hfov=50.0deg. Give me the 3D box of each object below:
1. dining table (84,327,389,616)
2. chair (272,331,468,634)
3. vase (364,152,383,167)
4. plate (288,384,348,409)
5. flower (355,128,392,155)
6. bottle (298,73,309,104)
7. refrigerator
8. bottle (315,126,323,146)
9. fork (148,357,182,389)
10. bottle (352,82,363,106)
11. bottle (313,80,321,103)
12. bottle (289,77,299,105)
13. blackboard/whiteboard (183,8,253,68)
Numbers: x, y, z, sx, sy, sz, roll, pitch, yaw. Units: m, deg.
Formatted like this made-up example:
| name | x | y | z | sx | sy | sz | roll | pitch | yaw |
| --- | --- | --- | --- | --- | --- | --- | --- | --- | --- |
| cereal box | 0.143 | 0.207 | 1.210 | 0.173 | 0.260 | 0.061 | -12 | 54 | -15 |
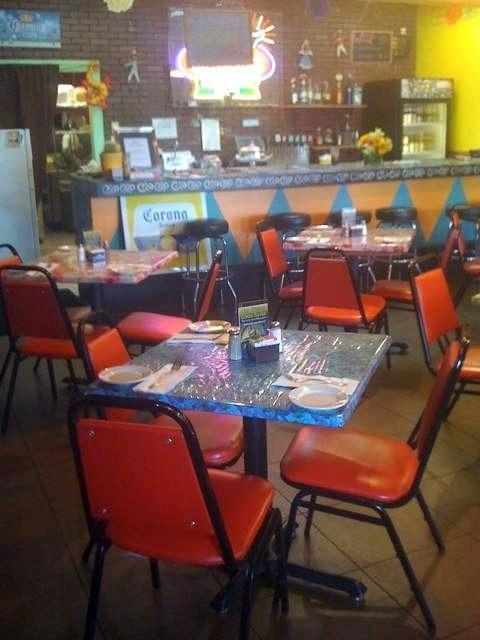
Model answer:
| name | x | y | z | sx | sy | sz | roll | pitch | yaw |
| --- | --- | --- | --- | --- | --- | --- | --- | --- | --- |
| dining table | 0.050 | 0.266 | 1.772 | 0.810 | 0.821 | 0.835 | 4 | 14 | 21 |
| chair | 0.399 | 0.340 | 1.969 | 0.752 | 1.218 | 0.676 | 6 | 14 | 20 |
| vase | 1.478 | -1.754 | 5.653 | 0.133 | 0.139 | 0.143 | 4 | 20 | 0 |
| plate | 0.203 | 0.198 | 1.325 | 0.148 | 0.024 | 0.162 | 0 | 19 | 8 |
| flower | 1.440 | -1.889 | 5.512 | 0.333 | 0.271 | 0.382 | 4 | 20 | 20 |
| bottle | 1.073 | -3.820 | 8.546 | 0.159 | 0.462 | 0.226 | -1 | 19 | 7 |
| refrigerator | 2.820 | -3.352 | 8.675 | 1.445 | 1.285 | 0.759 | 2 | 19 | 14 |
| bottle | 1.339 | -3.087 | 8.668 | 0.154 | 0.309 | 0.101 | -8 | 19 | -12 |
| fork | -0.223 | 0.157 | 1.546 | 0.027 | 0.028 | 0.193 | 15 | 15 | 10 |
| bottle | 2.028 | -3.850 | 8.835 | 0.167 | 0.392 | 0.292 | 1 | 19 | 13 |
| bottle | 1.308 | -3.788 | 8.623 | 0.129 | 0.340 | 0.184 | 4 | 20 | 20 |
| bottle | 0.912 | -3.764 | 8.487 | 0.173 | 0.419 | 0.138 | -11 | 20 | -21 |
| blackboard/whiteboard | -0.235 | -3.361 | 6.149 | 0.845 | 0.598 | 0.149 | -9 | 19 | -16 |
